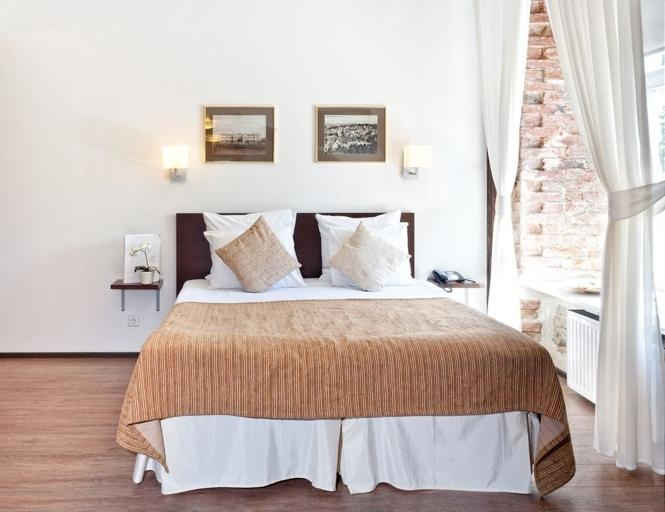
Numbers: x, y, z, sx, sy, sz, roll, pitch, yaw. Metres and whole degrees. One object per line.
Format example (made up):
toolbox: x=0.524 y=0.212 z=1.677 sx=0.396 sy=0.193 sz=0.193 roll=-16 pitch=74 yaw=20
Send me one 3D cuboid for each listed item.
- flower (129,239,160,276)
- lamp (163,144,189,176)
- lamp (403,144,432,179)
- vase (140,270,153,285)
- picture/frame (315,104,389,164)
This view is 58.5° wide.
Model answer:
flower: x=-1.664 y=-0.006 z=5.257 sx=0.321 sy=0.356 sz=0.221 roll=4 pitch=0 yaw=-17
lamp: x=-1.387 y=-0.837 z=5.237 sx=0.236 sy=0.293 sz=0.219 roll=-2 pitch=8 yaw=-14
lamp: x=0.753 y=-0.842 z=5.322 sx=0.285 sy=0.406 sz=0.265 roll=0 pitch=5 yaw=-6
vase: x=-1.607 y=0.184 z=5.124 sx=0.105 sy=0.099 sz=0.105 roll=5 pitch=-10 yaw=-28
picture/frame: x=0.148 y=-1.131 z=5.383 sx=0.524 sy=0.418 sz=0.023 roll=0 pitch=3 yaw=-3
